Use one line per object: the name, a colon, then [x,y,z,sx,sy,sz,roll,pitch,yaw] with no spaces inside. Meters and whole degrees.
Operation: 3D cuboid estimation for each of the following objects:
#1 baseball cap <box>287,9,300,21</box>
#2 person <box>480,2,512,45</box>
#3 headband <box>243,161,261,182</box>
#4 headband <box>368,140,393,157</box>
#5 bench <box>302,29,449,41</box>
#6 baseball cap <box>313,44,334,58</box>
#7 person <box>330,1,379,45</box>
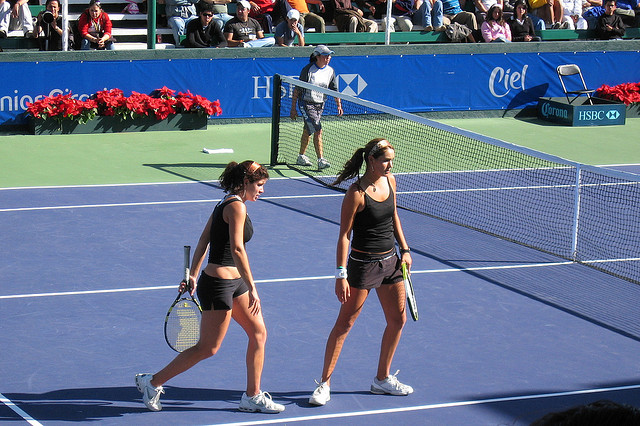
baseball cap: [-0.749,-5.331,23.277,0.307,0.283,0.413,-2,13,-5]
person: [5.170,-5.530,25.057,0.945,1.143,3.629,2,13,12]
headband: [-0.781,-0.479,9.922,0.075,0.188,0.159,35,0,-9]
headband: [0.720,-0.745,10.196,0.218,0.091,0.167,-33,6,20]
bench: [1.663,-5.201,25.202,4.358,0.277,0.731,-4,13,-13]
baseball cap: [0.049,-3.434,18.222,0.425,0.223,0.271,-2,12,19]
person: [0.957,-5.660,25.193,1.422,1.596,0.954,1,-5,-13]
